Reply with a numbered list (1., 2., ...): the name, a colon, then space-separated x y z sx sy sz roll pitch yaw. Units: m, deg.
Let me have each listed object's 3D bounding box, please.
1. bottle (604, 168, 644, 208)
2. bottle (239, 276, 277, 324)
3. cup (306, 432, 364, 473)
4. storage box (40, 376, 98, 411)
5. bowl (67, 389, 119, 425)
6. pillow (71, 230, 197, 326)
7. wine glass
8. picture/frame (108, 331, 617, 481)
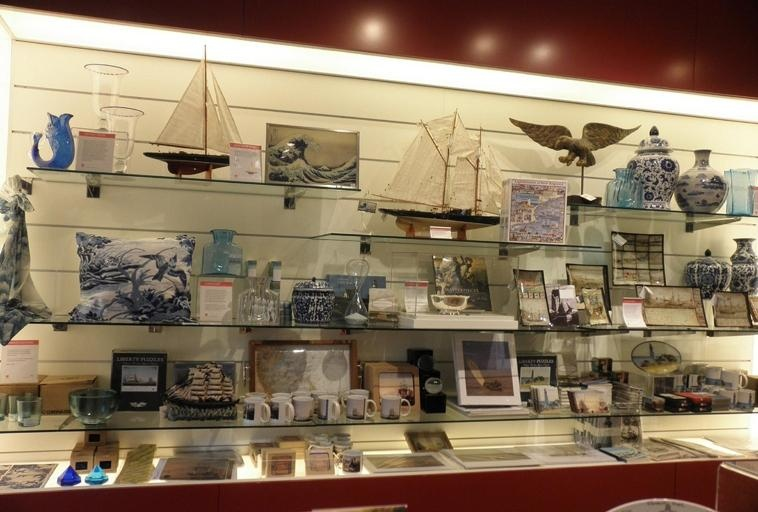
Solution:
1. bottle: 1.559 -0.417 4.043 0.250 0.268 0.247 -1 1 12
2. bottle: -0.690 0.258 3.610 0.266 0.289 0.111 1 -4 -17
3. cup: -0.256 1.141 3.700 0.325 0.173 0.322 0 -4 0
4. storage box: -1.791 0.761 3.621 0.218 0.149 0.216 1 -1 -13
5. bowl: -1.545 0.809 3.423 0.216 0.146 0.211 2 -1 0
6. pillow: -1.358 0.135 3.463 0.552 0.414 0.172 0 -5 -4
7. wine glass: -1.513 -0.771 3.598 0.306 0.633 0.250 2 -5 -25
8. picture/frame: -0.087 0.853 3.777 2.775 0.789 0.437 1 -4 -9
